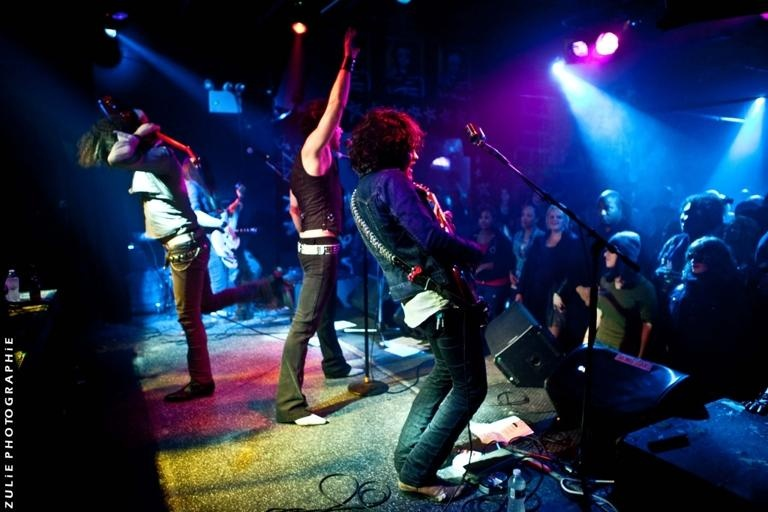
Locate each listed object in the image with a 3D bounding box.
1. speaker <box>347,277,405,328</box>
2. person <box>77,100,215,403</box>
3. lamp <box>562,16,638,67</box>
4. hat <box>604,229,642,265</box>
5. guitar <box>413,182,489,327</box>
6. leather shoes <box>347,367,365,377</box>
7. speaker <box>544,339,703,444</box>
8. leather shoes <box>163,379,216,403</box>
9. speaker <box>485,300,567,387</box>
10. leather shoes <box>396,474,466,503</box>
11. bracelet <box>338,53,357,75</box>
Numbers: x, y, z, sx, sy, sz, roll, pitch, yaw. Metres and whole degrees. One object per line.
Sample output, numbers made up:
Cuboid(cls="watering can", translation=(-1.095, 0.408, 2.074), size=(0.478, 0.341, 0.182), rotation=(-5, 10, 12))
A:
Cuboid(cls="speaker", translation=(-0.185, 0.776, 8.791), size=(0.817, 0.906, 0.923), rotation=(0, -4, -34))
Cuboid(cls="person", translation=(-2.496, -0.024, 6.044), size=(1.036, 3.347, 0.465), rotation=(-7, 11, -17))
Cuboid(cls="lamp", translation=(3.482, -3.576, 9.047), size=(0.542, 0.198, 0.855), rotation=(-13, -27, 29))
Cuboid(cls="hat", translation=(2.894, -0.098, 6.567), size=(0.390, 0.349, 0.310), rotation=(30, 0, 16))
Cuboid(cls="guitar", translation=(0.618, 0.011, 5.073), size=(0.525, 1.365, 0.618), rotation=(-7, 11, -21))
Cuboid(cls="leather shoes", translation=(-0.359, 1.462, 6.866), size=(0.169, 0.071, 0.089), rotation=(-3, 2, -33))
Cuboid(cls="speaker", translation=(2.329, 1.333, 5.431), size=(1.046, 0.698, 1.012), rotation=(-13, 5, -23))
Cuboid(cls="leather shoes", translation=(-2.229, 1.551, 6.333), size=(0.621, 0.233, 0.201), rotation=(2, 3, -23))
Cuboid(cls="speaker", translation=(1.726, 1.097, 6.615), size=(0.614, 0.534, 0.917), rotation=(-39, 14, 11))
Cuboid(cls="leather shoes", translation=(0.430, 2.134, 5.122), size=(0.625, 0.252, 0.236), rotation=(-1, -5, -5))
Cuboid(cls="bracelet", translation=(-0.376, -1.992, 5.702), size=(0.134, 0.194, 0.259), rotation=(-3, 10, 3))
